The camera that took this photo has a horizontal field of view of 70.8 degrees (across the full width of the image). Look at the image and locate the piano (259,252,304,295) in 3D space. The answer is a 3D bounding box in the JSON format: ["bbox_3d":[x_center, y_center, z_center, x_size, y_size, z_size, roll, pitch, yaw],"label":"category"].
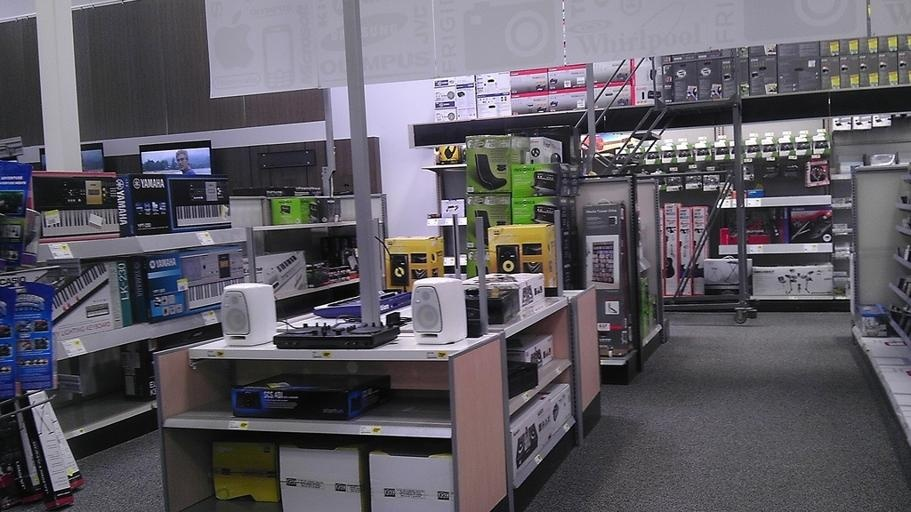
[{"bbox_3d":[-2.174,0.242,8.287,0.218,0.538,0.908,-2,4,33],"label":"piano"}]

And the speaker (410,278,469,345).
[{"bbox_3d":[-0.103,0.401,4.538,0.377,0.443,0.187,-1,14,-1],"label":"speaker"}]
